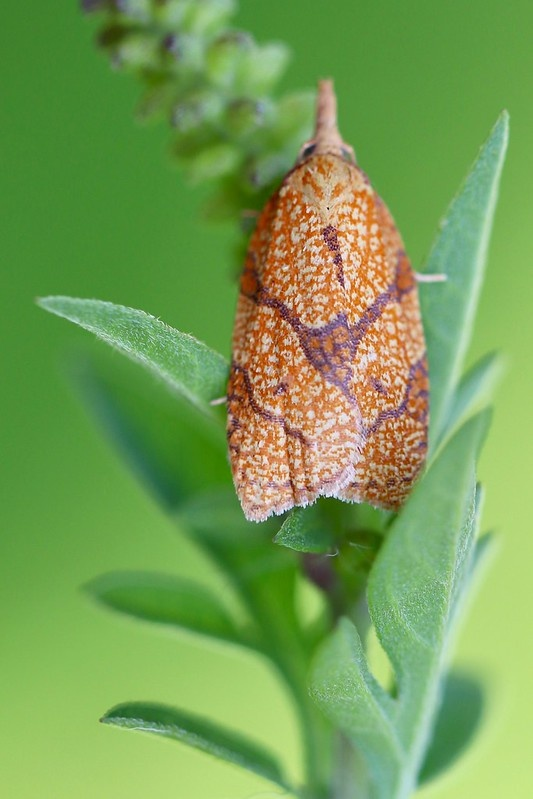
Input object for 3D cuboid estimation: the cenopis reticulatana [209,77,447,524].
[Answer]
[{"bbox_3d":[0.028,-0.036,0.364,0.107,0.176,0.031,2,-13,-2],"label":"cenopis reticulatana"}]
